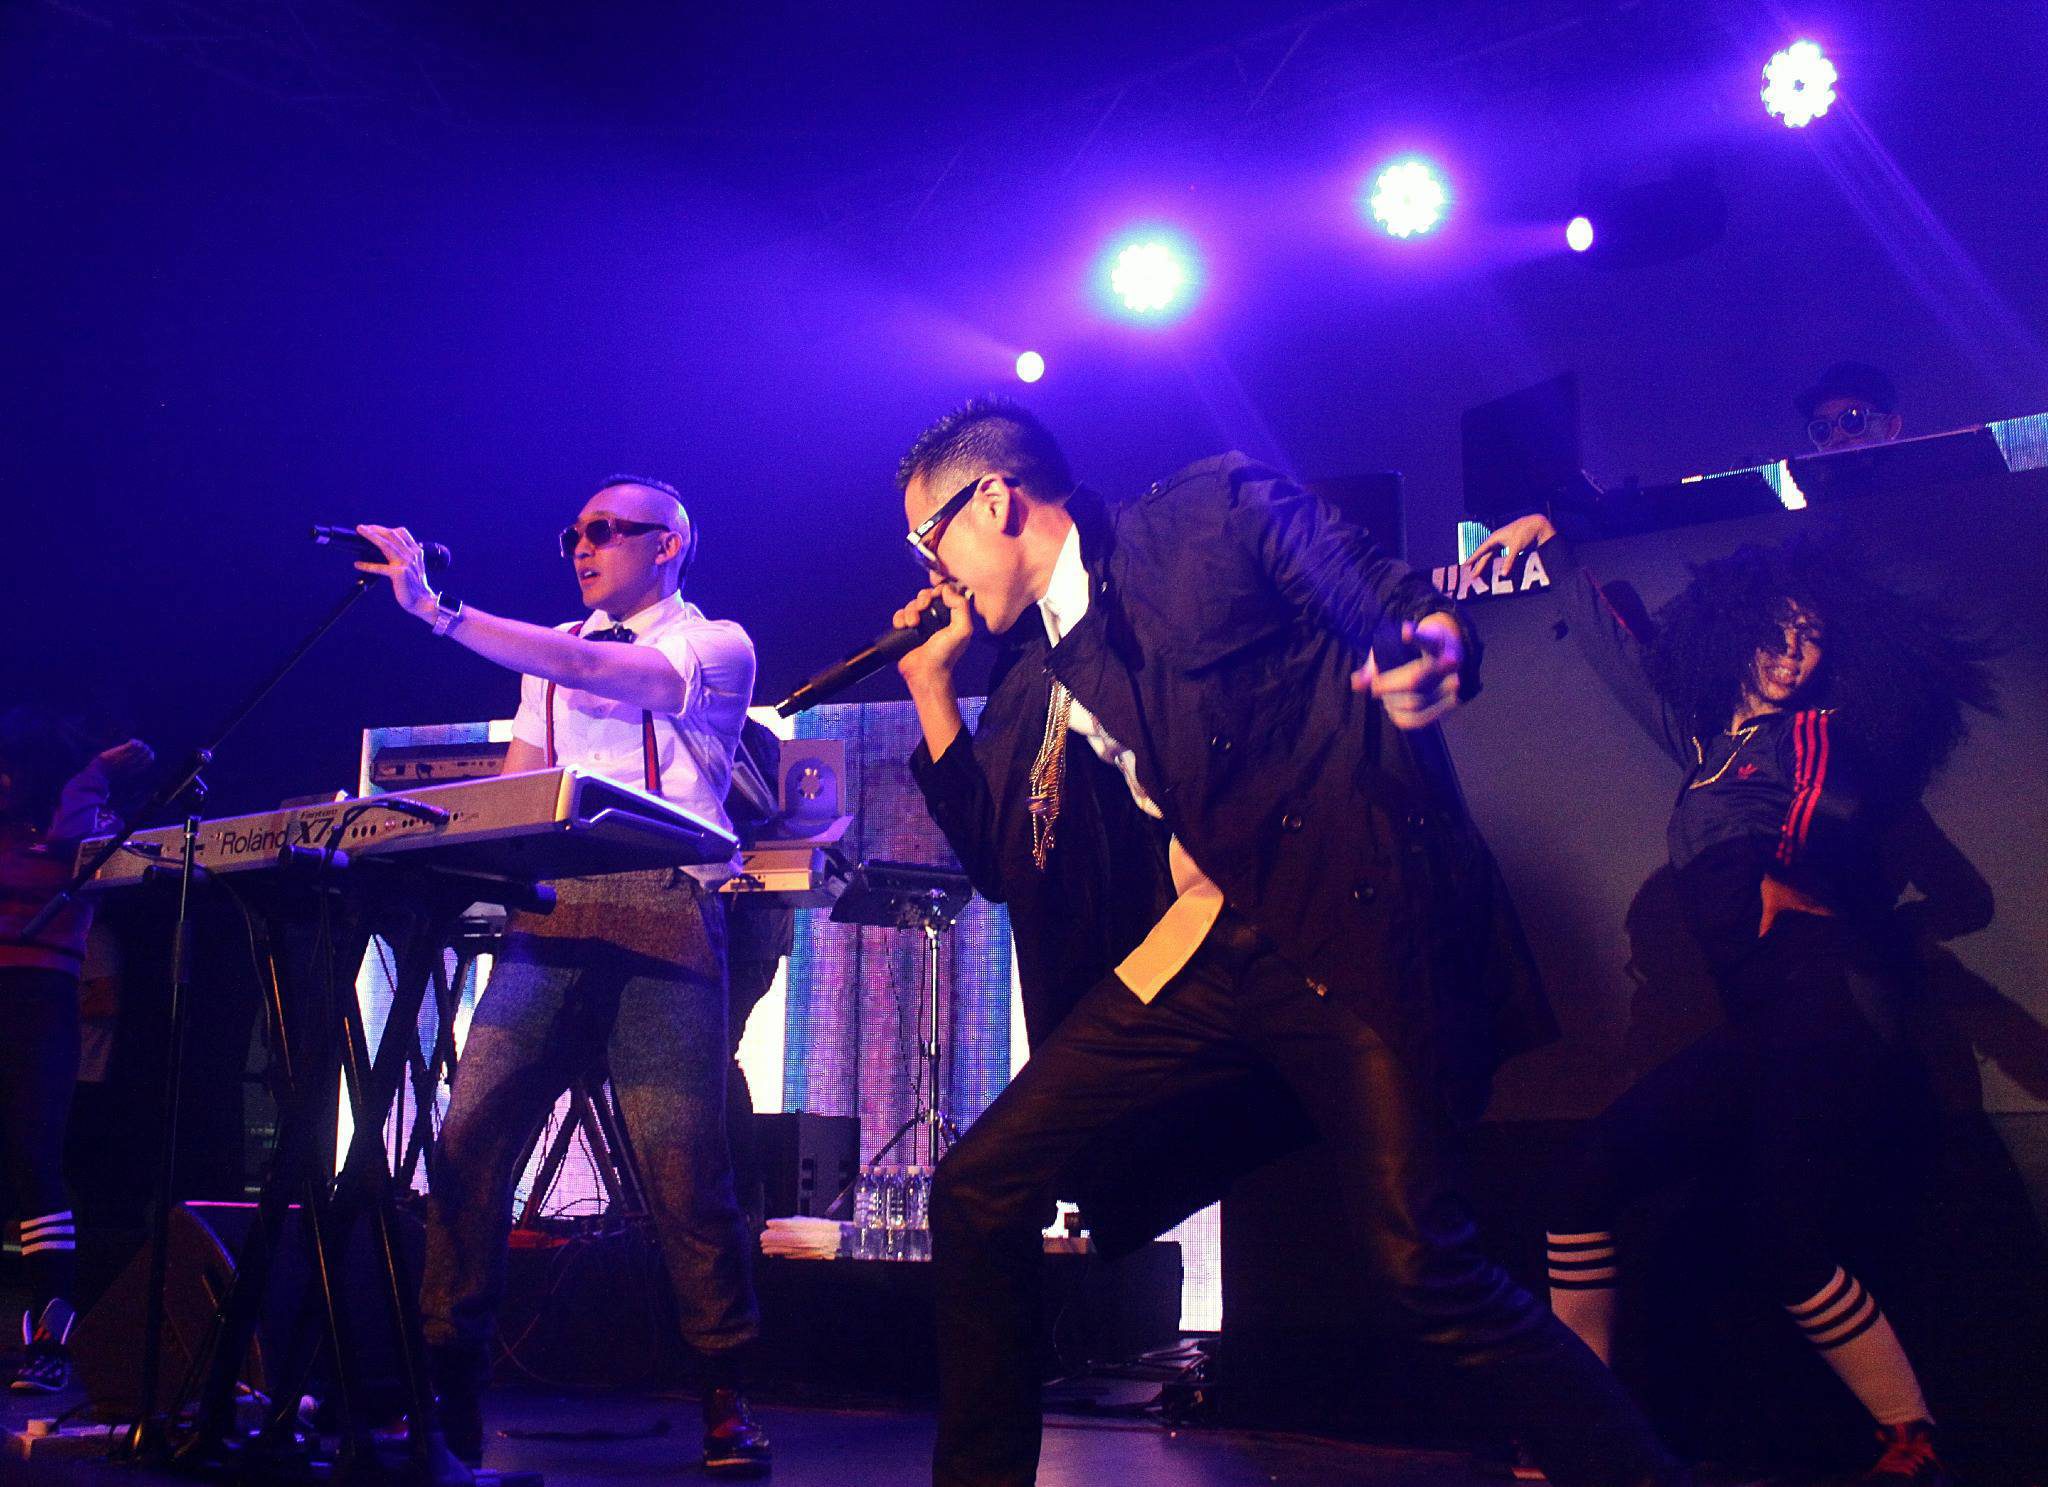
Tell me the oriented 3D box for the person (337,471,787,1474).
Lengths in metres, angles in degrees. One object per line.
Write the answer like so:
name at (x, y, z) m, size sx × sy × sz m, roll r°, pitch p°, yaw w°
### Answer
person at (-1.098, 0.456, 4.237) m, size 0.859 × 2.400 × 1.216 m, roll -2°, pitch -24°, yaw -3°

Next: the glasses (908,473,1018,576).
glasses at (-0.147, -0.473, 3.717) m, size 0.199 × 0.056 × 0.194 m, roll -42°, pitch -16°, yaw -3°

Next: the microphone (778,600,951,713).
microphone at (-0.561, -0.310, 5.733) m, size 0.787 × 0.165 × 0.138 m, roll -35°, pitch -76°, yaw 29°

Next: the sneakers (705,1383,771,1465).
sneakers at (-0.702, 1.690, 4.329) m, size 0.205 × 0.222 × 0.131 m, roll 1°, pitch -16°, yaw 3°

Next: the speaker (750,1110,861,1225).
speaker at (-0.835, 1.642, 6.866) m, size 0.354 × 0.522 × 0.498 m, roll -12°, pitch -16°, yaw 39°

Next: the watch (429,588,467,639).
watch at (-1.349, -0.292, 4.121) m, size 0.065 × 0.094 × 0.087 m, roll 6°, pitch -9°, yaw -19°

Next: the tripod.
tripod at (-0.609, 1.546, 8.135) m, size 0.791 × 1.371 × 0.937 m, roll 4°, pitch -18°, yaw 2°
